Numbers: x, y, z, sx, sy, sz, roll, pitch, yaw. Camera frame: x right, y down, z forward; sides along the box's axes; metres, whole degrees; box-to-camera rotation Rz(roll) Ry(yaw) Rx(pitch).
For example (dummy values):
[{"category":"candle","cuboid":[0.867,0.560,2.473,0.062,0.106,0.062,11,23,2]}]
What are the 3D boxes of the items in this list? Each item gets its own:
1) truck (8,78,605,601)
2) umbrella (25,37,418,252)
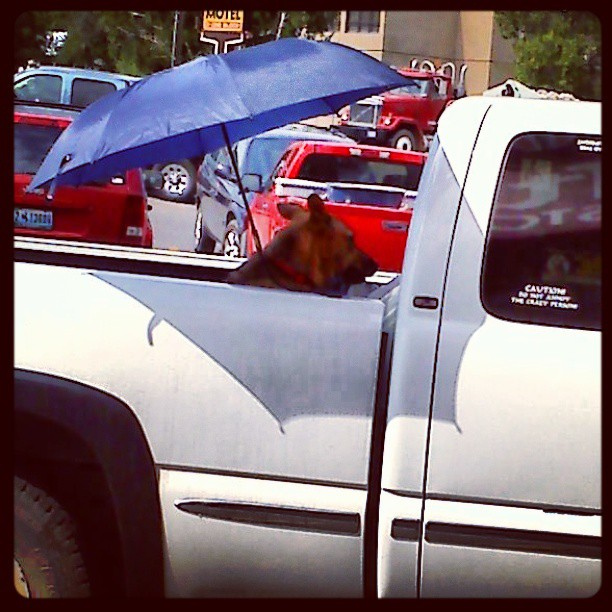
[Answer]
[{"category":"truck","cuboid":[0.073,0.171,4.063,1.995,1.504,1.337,-1,2,12]},{"category":"umbrella","cuboid":[-0.378,-0.318,4.528,1.106,0.781,1.236,-11,22,40]}]
